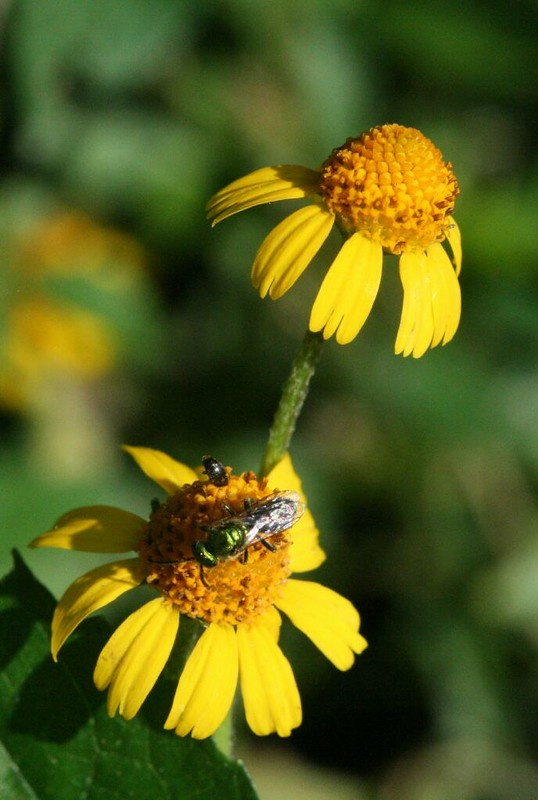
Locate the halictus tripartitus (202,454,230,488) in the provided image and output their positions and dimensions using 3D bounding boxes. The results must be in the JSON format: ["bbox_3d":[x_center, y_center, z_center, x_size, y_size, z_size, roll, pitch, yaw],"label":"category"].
[{"bbox_3d":[-0.140,0.172,1.936,0.061,0.074,0.027,-22,1,-39],"label":"halictus tripartitus"}]

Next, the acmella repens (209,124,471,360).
[{"bbox_3d":[0.290,-0.490,2.118,0.729,0.392,0.663,32,31,-2],"label":"acmella repens"}]

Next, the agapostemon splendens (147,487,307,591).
[{"bbox_3d":[-0.070,0.299,1.851,0.334,0.190,0.100,-31,-10,8],"label":"agapostemon splendens"}]
